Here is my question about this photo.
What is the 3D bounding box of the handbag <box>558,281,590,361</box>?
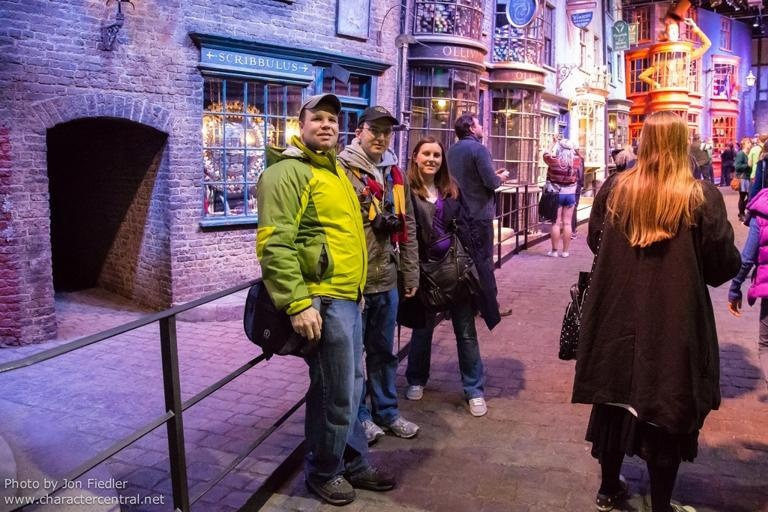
[{"bbox_3d":[1.282,0.444,3.483,0.190,0.458,0.340,14,12,14],"label":"handbag"}]

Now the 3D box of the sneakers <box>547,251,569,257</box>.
[{"bbox_3d":[3.766,-0.077,11.085,0.408,0.164,0.172,3,10,19],"label":"sneakers"}]

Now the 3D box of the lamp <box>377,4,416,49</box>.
[{"bbox_3d":[0.295,-5.276,11.601,0.447,1.051,0.922,8,12,38],"label":"lamp"}]

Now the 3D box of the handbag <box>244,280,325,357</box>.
[{"bbox_3d":[-0.702,0.430,3.329,0.566,0.549,0.294,7,12,32],"label":"handbag"}]

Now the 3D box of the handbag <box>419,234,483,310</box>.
[{"bbox_3d":[0.587,0.138,4.633,0.510,0.559,0.277,-30,6,-9],"label":"handbag"}]

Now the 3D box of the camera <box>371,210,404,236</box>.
[{"bbox_3d":[0.032,-0.268,3.977,0.193,0.129,0.193,10,13,30],"label":"camera"}]

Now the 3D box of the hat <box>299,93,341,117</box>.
[{"bbox_3d":[-0.437,-1.038,3.477,0.257,0.167,0.312,0,10,-1],"label":"hat"}]

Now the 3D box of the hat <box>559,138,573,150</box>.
[{"bbox_3d":[3.879,-2.403,10.922,0.221,0.080,0.260,9,20,-5],"label":"hat"}]

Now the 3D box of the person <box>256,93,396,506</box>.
[{"bbox_3d":[-0.423,0.340,3.419,0.877,2.783,0.521,-8,13,-40],"label":"person"}]
